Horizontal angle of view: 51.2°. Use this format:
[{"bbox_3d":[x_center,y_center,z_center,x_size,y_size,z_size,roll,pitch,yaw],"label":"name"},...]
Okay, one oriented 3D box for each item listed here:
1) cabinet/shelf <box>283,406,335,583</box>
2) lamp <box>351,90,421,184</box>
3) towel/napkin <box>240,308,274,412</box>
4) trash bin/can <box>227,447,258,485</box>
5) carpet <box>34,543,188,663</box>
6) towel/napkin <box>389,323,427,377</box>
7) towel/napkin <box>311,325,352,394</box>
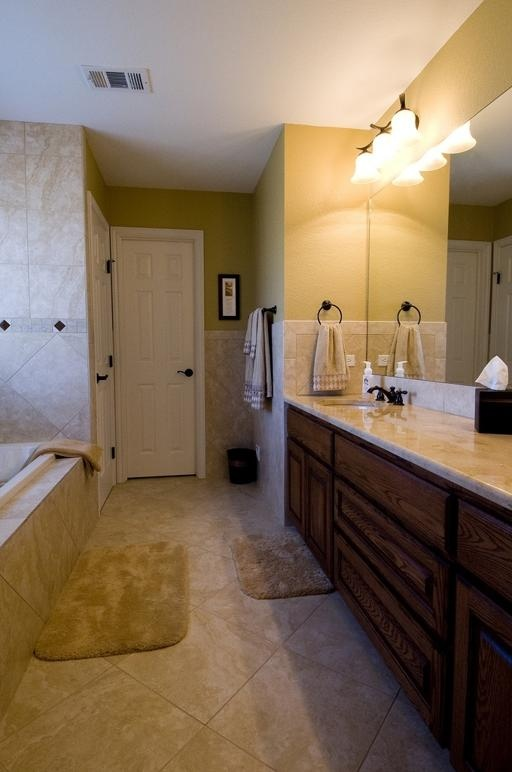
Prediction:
[{"bbox_3d":[0.229,0.466,2.272,0.192,0.581,0.606,1,5,-4],"label":"cabinet/shelf"},{"bbox_3d":[0.566,-1.077,2.380,0.165,0.300,0.449,2,-13,-19],"label":"lamp"},{"bbox_3d":[0.011,-0.182,3.232,0.171,0.771,0.623,0,4,-9],"label":"towel/napkin"},{"bbox_3d":[-0.099,0.564,3.798,0.199,0.221,0.213,-1,6,-9],"label":"trash bin/can"},{"bbox_3d":[-0.526,0.816,2.138,0.504,0.026,0.842,-1,7,-8],"label":"carpet"},{"bbox_3d":[0.676,-0.164,2.345,0.077,0.375,0.196,6,-7,-23],"label":"towel/napkin"},{"bbox_3d":[0.385,-0.156,2.747,0.179,0.340,0.145,0,5,2],"label":"towel/napkin"}]
